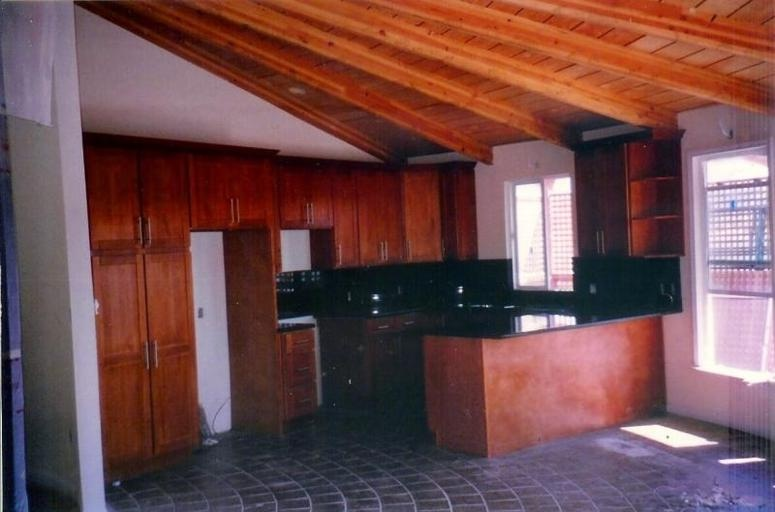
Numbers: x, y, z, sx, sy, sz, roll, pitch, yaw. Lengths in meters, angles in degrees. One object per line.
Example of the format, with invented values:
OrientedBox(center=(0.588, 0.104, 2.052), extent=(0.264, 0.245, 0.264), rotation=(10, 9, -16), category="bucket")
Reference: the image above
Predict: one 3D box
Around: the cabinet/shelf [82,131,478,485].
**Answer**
OrientedBox(center=(-1.302, 0.618, 6.893), extent=(1.235, 2.490, 3.801), rotation=(-1, 1, 39), category="cabinet/shelf")

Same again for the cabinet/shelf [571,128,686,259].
OrientedBox(center=(2.687, -0.665, 6.950), extent=(0.681, 1.721, 1.515), rotation=(0, 1, -37), category="cabinet/shelf")
